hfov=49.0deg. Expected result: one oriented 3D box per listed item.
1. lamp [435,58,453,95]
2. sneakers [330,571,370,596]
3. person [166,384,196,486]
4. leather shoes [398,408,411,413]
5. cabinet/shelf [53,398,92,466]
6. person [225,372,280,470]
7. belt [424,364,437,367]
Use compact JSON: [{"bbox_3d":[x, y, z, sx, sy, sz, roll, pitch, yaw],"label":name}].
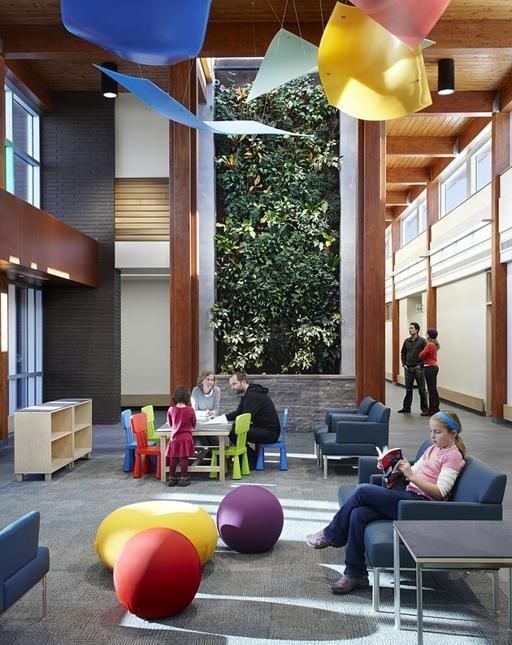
[{"bbox_3d":[2.500,-3.283,7.397,0.179,0.488,0.271,-1,-2,12],"label":"lamp"},{"bbox_3d":[0.517,1.447,3.122,0.246,0.125,0.088,3,-8,-17],"label":"sneakers"},{"bbox_3d":[-0.763,1.142,5.716,0.284,1.009,0.747,0,-2,-8],"label":"person"},{"bbox_3d":[3.010,1.797,11.345,0.201,0.090,0.116,3,-2,6],"label":"leather shoes"},{"bbox_3d":[-2.183,1.317,6.620,0.229,0.653,0.728,0,-2,0],"label":"cabinet/shelf"},{"bbox_3d":[-0.053,1.126,6.433,0.643,1.060,0.533,-2,-4,9],"label":"person"},{"bbox_3d":[3.331,0.831,10.705,0.235,0.083,0.272,-1,-3,9],"label":"belt"}]
